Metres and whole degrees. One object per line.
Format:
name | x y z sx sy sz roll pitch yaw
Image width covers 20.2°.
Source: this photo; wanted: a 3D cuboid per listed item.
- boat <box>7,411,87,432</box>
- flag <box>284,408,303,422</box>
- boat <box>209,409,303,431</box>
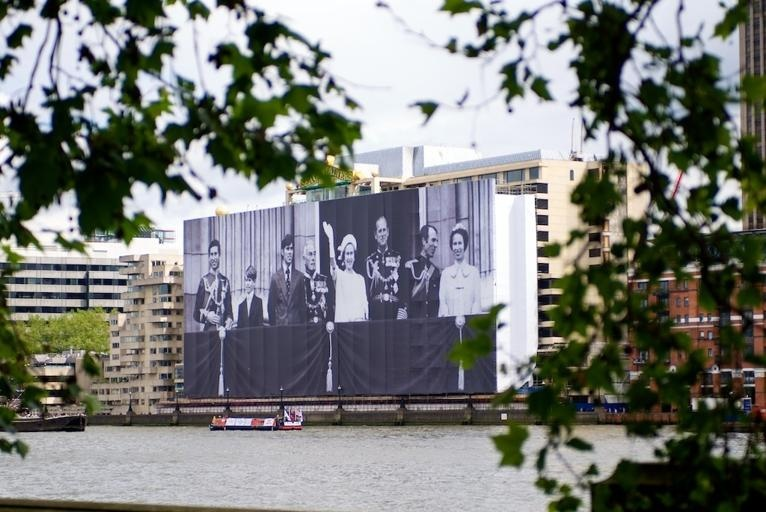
boat | -23.862 12.417 157.778 5.751 1.400 3.780 3 -7 -26
flag | -6.421 12.193 160.413 1.146 0.651 1.587 2 2 3
boat | -9.267 12.793 164.941 7.436 2.174 2.025 0 -7 24
